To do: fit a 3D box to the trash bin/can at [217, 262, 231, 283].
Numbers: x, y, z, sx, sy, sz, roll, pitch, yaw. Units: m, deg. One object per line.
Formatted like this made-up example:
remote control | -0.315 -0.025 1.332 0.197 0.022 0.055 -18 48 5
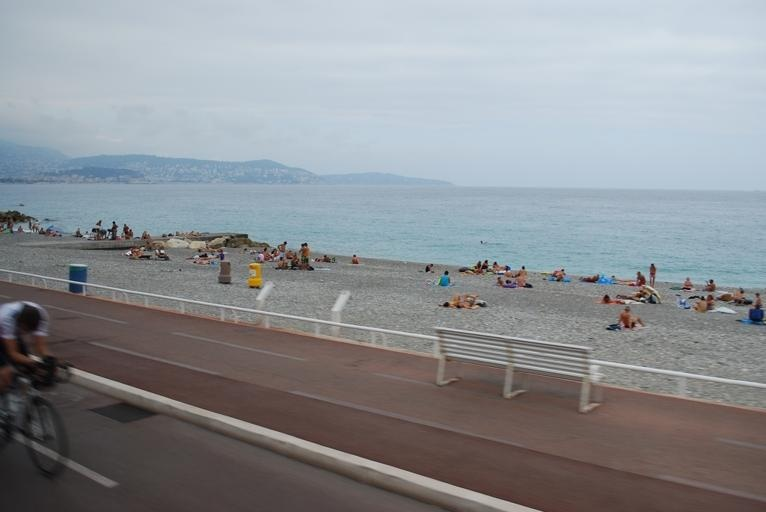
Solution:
trash bin/can | -9.000 0.936 29.998 0.669 1.309 0.680 -4 14 -18
